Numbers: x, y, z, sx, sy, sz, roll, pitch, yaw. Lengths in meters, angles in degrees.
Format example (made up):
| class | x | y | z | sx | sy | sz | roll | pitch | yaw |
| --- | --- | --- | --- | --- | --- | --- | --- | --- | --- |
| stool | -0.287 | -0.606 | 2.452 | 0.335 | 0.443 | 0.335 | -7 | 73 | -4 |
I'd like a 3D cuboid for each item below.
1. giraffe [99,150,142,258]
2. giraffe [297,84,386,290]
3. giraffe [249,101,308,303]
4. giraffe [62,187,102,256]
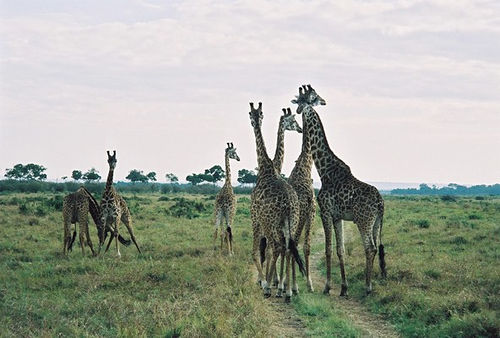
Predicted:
| class | x | y | z | sx | sy | sz | roll | pitch | yaw |
| --- | --- | --- | --- | --- | --- | --- | --- | --- | --- |
| giraffe | -6.334 | 1.642 | 29.354 | 1.557 | 4.975 | 2.088 | -1 | -4 | 9 |
| giraffe | 3.730 | 0.709 | 25.363 | 3.199 | 8.394 | 7.075 | -1 | -4 | 7 |
| giraffe | 1.061 | 1.211 | 25.071 | 2.029 | 8.080 | 2.666 | -1 | -4 | 0 |
| giraffe | -8.526 | 2.415 | 30.675 | 1.092 | 3.512 | 4.743 | -5 | -6 | -6 |
